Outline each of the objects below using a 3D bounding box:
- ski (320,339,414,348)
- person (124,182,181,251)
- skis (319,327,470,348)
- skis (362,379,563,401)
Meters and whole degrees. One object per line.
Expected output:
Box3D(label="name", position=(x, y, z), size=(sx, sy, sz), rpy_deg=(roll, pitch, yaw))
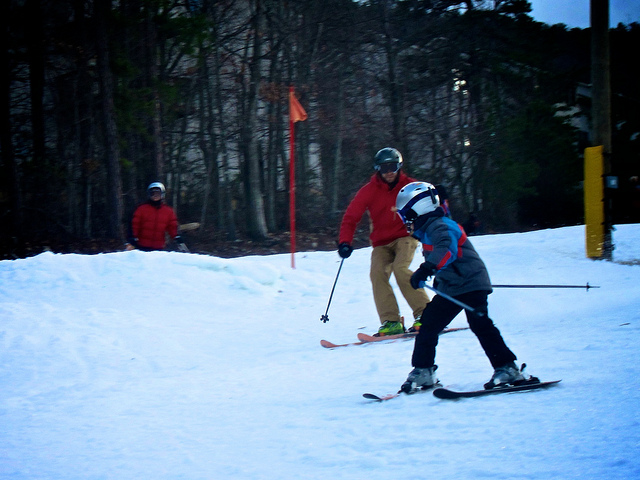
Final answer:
Box3D(label="ski", position=(0.719, 1.827, 17.726), size=(1.467, 0.128, 0.244), rpy_deg=(-2, 0, 3))
Box3D(label="person", position=(-3.577, -0.475, 21.307), size=(1.024, 1.380, 0.469), rpy_deg=(-4, 1, -20))
Box3D(label="skis", position=(1.365, 1.717, 17.501), size=(3.657, 0.205, 0.287), rpy_deg=(-4, 12, 2))
Box3D(label="skis", position=(2.364, 2.374, 15.827), size=(2.708, 0.128, 0.234), rpy_deg=(-4, -4, 1))
